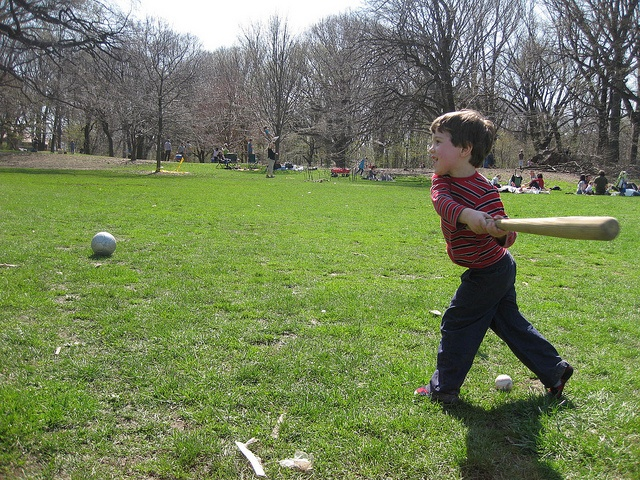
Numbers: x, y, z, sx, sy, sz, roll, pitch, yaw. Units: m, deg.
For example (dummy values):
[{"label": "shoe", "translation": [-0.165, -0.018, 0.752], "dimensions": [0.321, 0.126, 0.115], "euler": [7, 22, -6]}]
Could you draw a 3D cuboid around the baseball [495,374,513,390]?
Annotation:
[{"label": "baseball", "translation": [2.090, 1.602, 6.471], "dimensions": [0.149, 0.169, 0.151], "euler": [-12, -1, -4]}]

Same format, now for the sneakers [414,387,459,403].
[{"label": "sneakers", "translation": [1.302, 1.637, 6.349], "dimensions": [0.453, 0.227, 0.187], "euler": [-1, 2, 26]}]
